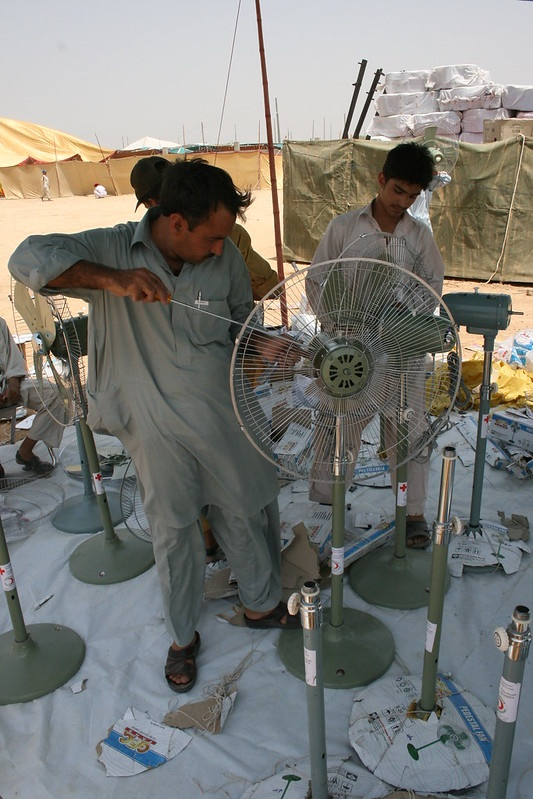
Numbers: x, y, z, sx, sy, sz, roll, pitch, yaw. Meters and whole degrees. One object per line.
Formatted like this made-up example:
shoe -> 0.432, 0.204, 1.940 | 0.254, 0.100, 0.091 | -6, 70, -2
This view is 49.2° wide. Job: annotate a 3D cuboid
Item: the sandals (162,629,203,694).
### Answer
sandals -> -0.326, 1.045, 2.291 | 0.080, 0.066, 0.218 | 1, 22, 7
